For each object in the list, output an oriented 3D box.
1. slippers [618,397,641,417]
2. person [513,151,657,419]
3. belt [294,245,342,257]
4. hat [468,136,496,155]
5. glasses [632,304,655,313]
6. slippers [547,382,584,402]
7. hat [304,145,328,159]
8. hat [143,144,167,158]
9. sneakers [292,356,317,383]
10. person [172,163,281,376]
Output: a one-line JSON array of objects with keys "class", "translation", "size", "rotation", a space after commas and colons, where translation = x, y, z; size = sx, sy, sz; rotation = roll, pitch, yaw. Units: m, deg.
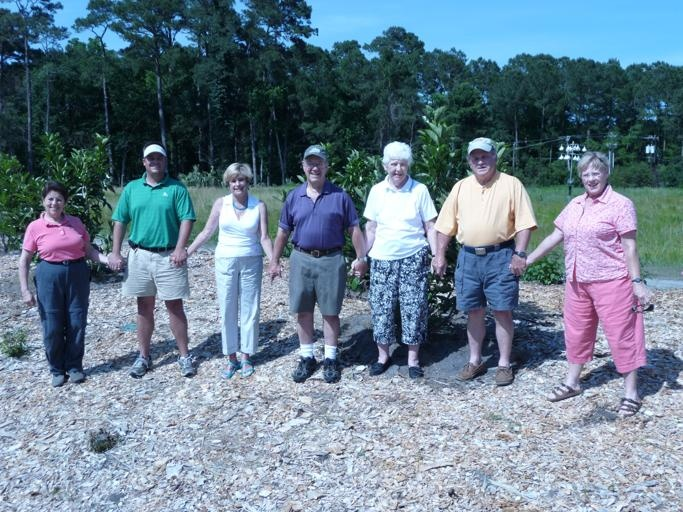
[{"class": "slippers", "translation": [2.647, 1.384, 5.596], "size": [0.267, 0.149, 0.128], "rotation": [-3, 8, -20]}, {"class": "person", "translation": [2.366, 0.240, 5.633], "size": [0.845, 2.387, 0.320], "rotation": [3, 8, 24]}, {"class": "belt", "translation": [-0.258, -0.053, 6.429], "size": [0.491, 0.097, 0.099], "rotation": [0, 7, 3]}, {"class": "hat", "translation": [1.400, -1.110, 6.124], "size": [0.267, 0.182, 0.535], "rotation": [2, 7, 12]}, {"class": "glasses", "translation": [2.705, 0.474, 5.526], "size": [0.169, 0.083, 0.219], "rotation": [1, -2, -39]}, {"class": "slippers", "translation": [2.197, 1.328, 5.965], "size": [0.385, 0.158, 0.138], "rotation": [-7, 8, -5]}, {"class": "hat", "translation": [-0.273, -1.101, 6.398], "size": [0.209, 0.156, 0.479], "rotation": [0, 7, 1]}, {"class": "hat", "translation": [-2.054, -1.165, 6.704], "size": [0.243, 0.153, 0.201], "rotation": [-3, 8, -20]}, {"class": "sneakers", "translation": [-0.424, 1.250, 6.637], "size": [0.151, 0.148, 0.322], "rotation": [2, 6, 11]}, {"class": "person", "translation": [-1.131, 0.175, 6.695], "size": [0.782, 2.373, 0.413], "rotation": [0, 7, 0]}]
